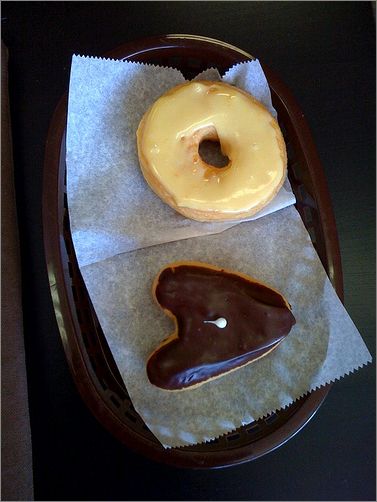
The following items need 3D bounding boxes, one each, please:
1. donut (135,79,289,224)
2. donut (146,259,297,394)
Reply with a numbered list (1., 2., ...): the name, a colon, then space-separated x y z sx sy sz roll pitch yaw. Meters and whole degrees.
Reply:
1. donut: 0.043 -0.180 0.953 0.246 0.136 0.251 -38 71 -10
2. donut: 0.059 0.144 0.934 0.248 0.070 0.217 5 69 6
